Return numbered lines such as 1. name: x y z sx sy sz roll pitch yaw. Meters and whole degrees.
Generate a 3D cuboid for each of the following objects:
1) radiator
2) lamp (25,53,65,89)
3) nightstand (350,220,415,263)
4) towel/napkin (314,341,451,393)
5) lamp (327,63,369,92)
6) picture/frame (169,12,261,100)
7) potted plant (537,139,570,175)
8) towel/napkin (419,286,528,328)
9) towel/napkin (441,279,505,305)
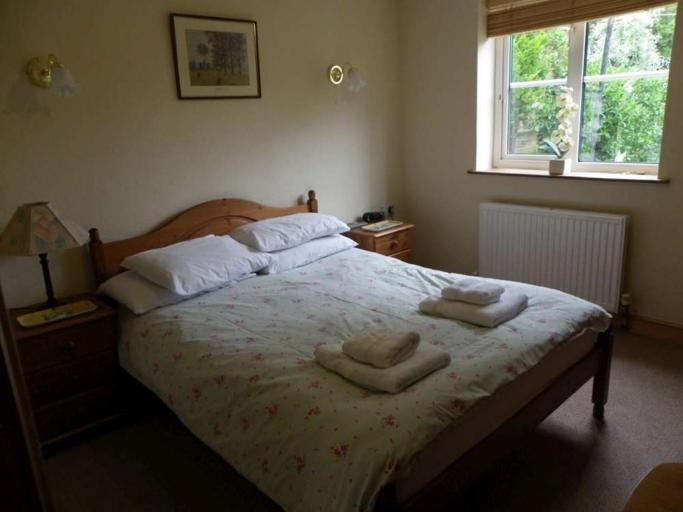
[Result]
1. radiator: 1.644 0.001 3.606 0.084 0.583 0.789 -14 19 -39
2. lamp: -1.832 -1.151 2.962 0.212 0.191 0.151 7 46 -27
3. nightstand: 0.358 -0.246 4.354 0.345 0.459 0.471 10 20 34
4. towel/napkin: 0.143 0.496 2.150 0.278 0.072 0.280 12 20 42
5. lamp: 0.037 -1.575 4.258 0.121 0.146 0.405 24 19 10
6. picture/frame: -0.955 -1.475 3.537 0.617 0.530 0.046 -19 26 -35
7. potted plant: 1.764 -0.822 4.003 0.143 0.281 0.270 12 22 42
8. towel/napkin: 0.706 0.291 2.637 0.282 0.079 0.275 -15 19 -42
9. towel/napkin: 0.723 0.195 2.707 0.182 0.067 0.187 6 13 38
